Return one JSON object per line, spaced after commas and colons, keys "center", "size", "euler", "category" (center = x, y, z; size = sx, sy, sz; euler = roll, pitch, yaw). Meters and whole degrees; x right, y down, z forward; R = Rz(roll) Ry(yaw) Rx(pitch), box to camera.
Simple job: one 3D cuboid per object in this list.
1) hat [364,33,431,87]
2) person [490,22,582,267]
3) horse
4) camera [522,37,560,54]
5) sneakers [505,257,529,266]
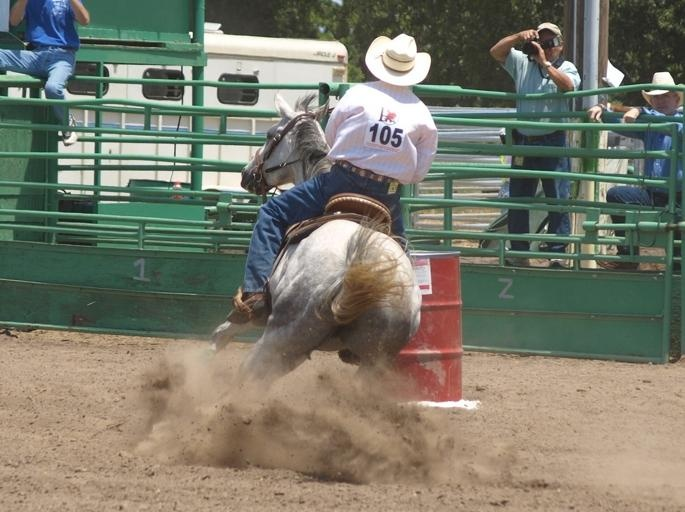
{"center": [0.508, -1.806, 11.882], "size": [0.534, 0.559, 0.220], "euler": [14, -43, -4], "category": "hat"}
{"center": [2.204, -1.287, 14.678], "size": [1.035, 2.714, 0.928], "euler": [5, 1, 8], "category": "person"}
{"center": [-0.257, 0.007, 11.663], "size": [1.192, 2.739, 1.786], "euler": [4, 1, -34], "category": "horse"}
{"center": [2.280, -2.399, 14.482], "size": [0.408, 0.199, 0.282], "euler": [4, 1, 6], "category": "camera"}
{"center": [2.047, 0.066, 14.923], "size": [0.111, 0.129, 0.305], "euler": [0, 4, -10], "category": "sneakers"}
